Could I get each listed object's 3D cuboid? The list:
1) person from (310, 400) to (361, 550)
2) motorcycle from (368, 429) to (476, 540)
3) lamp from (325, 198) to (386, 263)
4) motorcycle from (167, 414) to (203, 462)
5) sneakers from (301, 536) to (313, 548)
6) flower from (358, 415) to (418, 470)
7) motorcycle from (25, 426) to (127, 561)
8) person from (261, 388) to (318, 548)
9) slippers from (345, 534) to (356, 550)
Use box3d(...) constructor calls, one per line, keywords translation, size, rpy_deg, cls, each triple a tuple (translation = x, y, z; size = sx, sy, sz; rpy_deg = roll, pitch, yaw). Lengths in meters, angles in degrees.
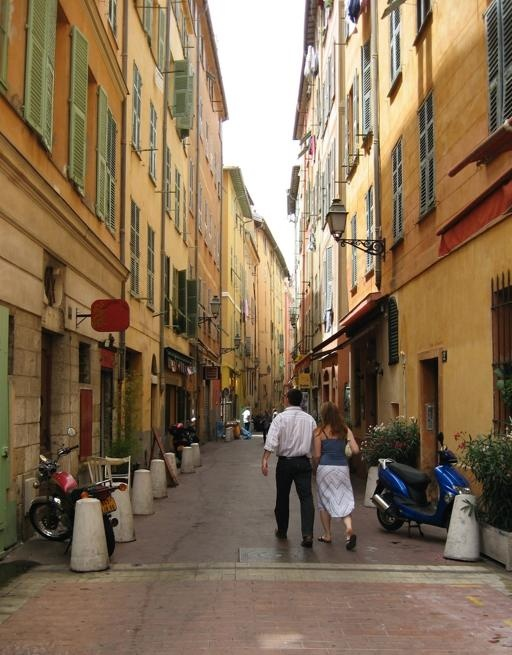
box3d(translation=(0.908, 1.680, 7.641), size=(0.461, 1.702, 0.958), rpy_deg=(0, -10, -6), cls="person")
box3d(translation=(2.012, 1.974, 8.198), size=(0.693, 1.830, 1.555), rpy_deg=(8, -13, -38), cls="motorcycle")
box3d(translation=(2.069, -2.196, 13.832), size=(1.069, 0.555, 1.758), rpy_deg=(5, -45, 23), cls="lamp")
box3d(translation=(-2.242, 3.575, 20.591), size=(0.809, 1.501, 3.766), rpy_deg=(0, -16, -5), cls="motorcycle")
box3d(translation=(0.568, 2.358, 7.256), size=(0.136, 0.142, 0.178), rpy_deg=(2, -14, -12), cls="sneakers")
box3d(translation=(2.519, 2.056, 12.005), size=(0.612, 0.995, 0.688), rpy_deg=(-8, 8, 10), cls="flower")
box3d(translation=(-1.994, 1.842, 7.158), size=(1.002, 1.253, 0.557), rpy_deg=(3, 11, 23), cls="motorcycle")
box3d(translation=(0.413, 1.665, 7.802), size=(0.608, 1.815, 1.015), rpy_deg=(-2, -10, 12), cls="person")
box3d(translation=(0.998, 2.298, 7.094), size=(0.086, 0.263, 0.060), rpy_deg=(0, 4, -39), cls="slippers")
